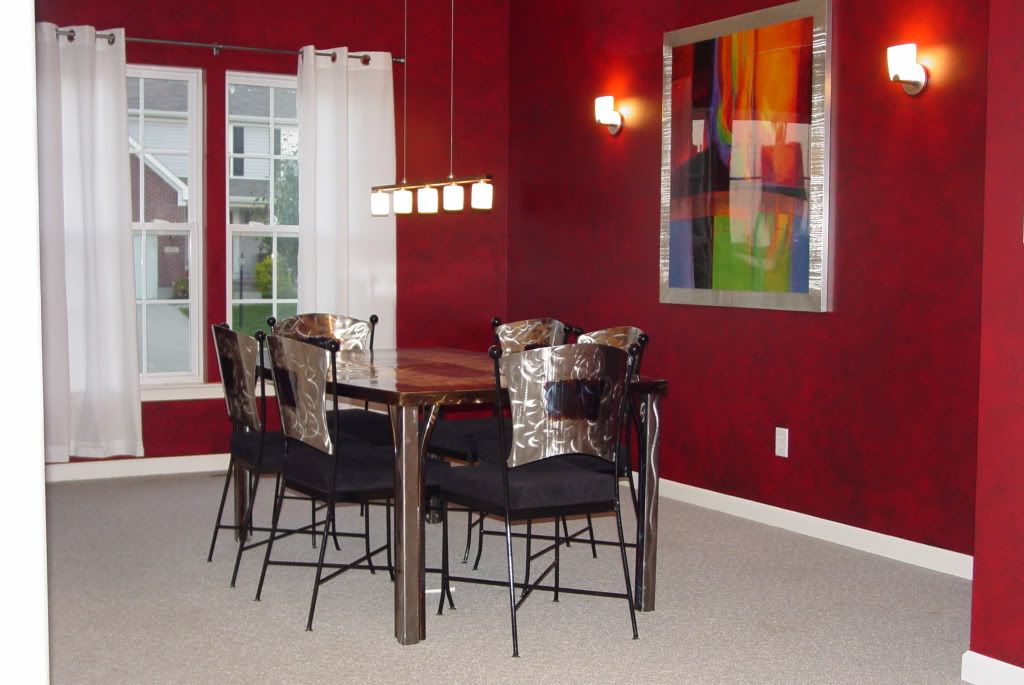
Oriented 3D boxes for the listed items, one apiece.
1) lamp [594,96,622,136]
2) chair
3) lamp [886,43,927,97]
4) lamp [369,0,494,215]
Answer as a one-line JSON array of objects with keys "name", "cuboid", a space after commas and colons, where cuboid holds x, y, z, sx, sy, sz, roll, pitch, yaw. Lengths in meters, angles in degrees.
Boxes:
[{"name": "lamp", "cuboid": [0.674, -1.559, 6.083, 0.170, 0.250, 0.122, -3, 8, -24]}, {"name": "chair", "cuboid": [-0.218, 0.509, 3.816, 1.398, 1.024, 1.435, 0, 0, -34]}, {"name": "lamp", "cuboid": [2.014, -1.380, 4.509, 0.218, 0.253, 0.130, 7, 9, 41]}, {"name": "lamp", "cuboid": [-0.554, -1.657, 5.780, 0.816, 1.650, 2.199, 0, 7, -3]}]
